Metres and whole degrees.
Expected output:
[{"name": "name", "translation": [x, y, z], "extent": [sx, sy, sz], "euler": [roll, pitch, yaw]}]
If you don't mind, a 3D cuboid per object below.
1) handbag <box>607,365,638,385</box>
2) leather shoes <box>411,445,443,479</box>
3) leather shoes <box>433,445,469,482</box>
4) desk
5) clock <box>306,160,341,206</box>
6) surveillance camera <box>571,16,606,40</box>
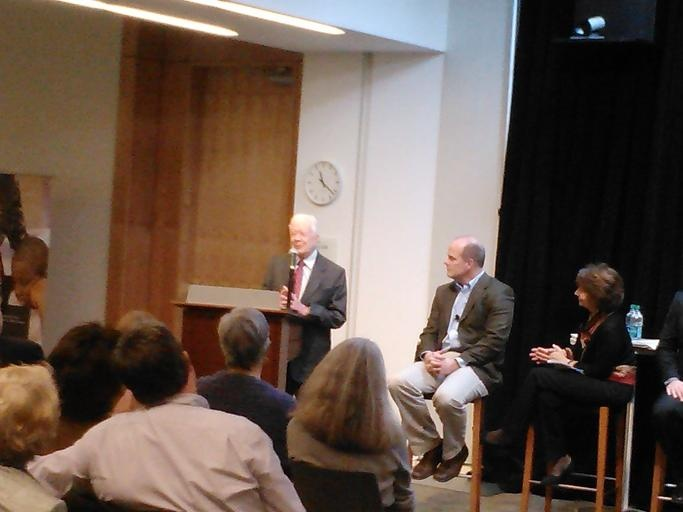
[{"name": "handbag", "translation": [1.664, 0.690, 3.721], "extent": [0.112, 0.057, 0.120], "euler": [0, 7, 18]}, {"name": "leather shoes", "translation": [0.546, 1.288, 3.998], "extent": [0.252, 0.187, 0.096], "euler": [-23, -20, 31]}, {"name": "leather shoes", "translation": [0.678, 1.260, 3.928], "extent": [0.112, 0.230, 0.319], "euler": [9, 13, 34]}, {"name": "desk", "translation": [-0.476, 0.397, 2.974], "extent": [0.536, 0.566, 0.377], "euler": [2, 4, 7]}, {"name": "clock", "translation": [-0.180, -0.549, 4.858], "extent": [0.222, 0.353, 0.406], "euler": [6, 6, 31]}, {"name": "surveillance camera", "translation": [1.675, -1.522, 4.257], "extent": [0.173, 0.196, 0.118], "euler": [-14, 30, -6]}]
